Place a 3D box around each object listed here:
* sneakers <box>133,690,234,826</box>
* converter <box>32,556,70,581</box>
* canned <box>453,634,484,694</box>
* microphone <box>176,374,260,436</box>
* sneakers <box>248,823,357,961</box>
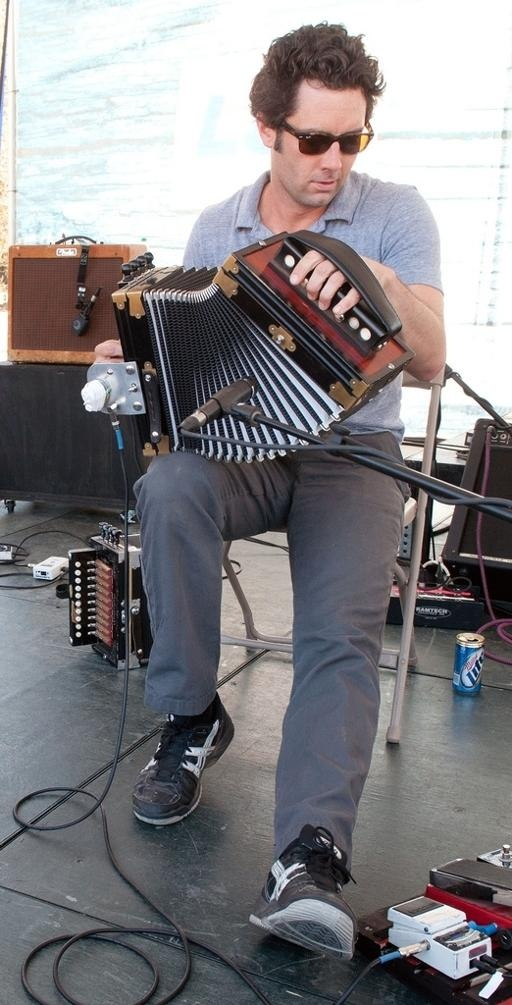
[{"bbox_3d":[-0.134,0.469,1.374,0.091,0.127,0.264,8,32,18],"label":"sneakers"},{"bbox_3d":[-0.735,0.235,2.800,0.094,0.061,0.167,6,11,21],"label":"converter"},{"bbox_3d":[0.554,0.404,2.018,0.074,0.157,0.165,5,9,17],"label":"canned"},{"bbox_3d":[-0.052,-0.125,0.958,0.087,0.028,0.088,-23,13,42],"label":"microphone"},{"bbox_3d":[0.050,0.499,1.014,0.084,0.104,0.215,37,-25,-4],"label":"sneakers"}]
